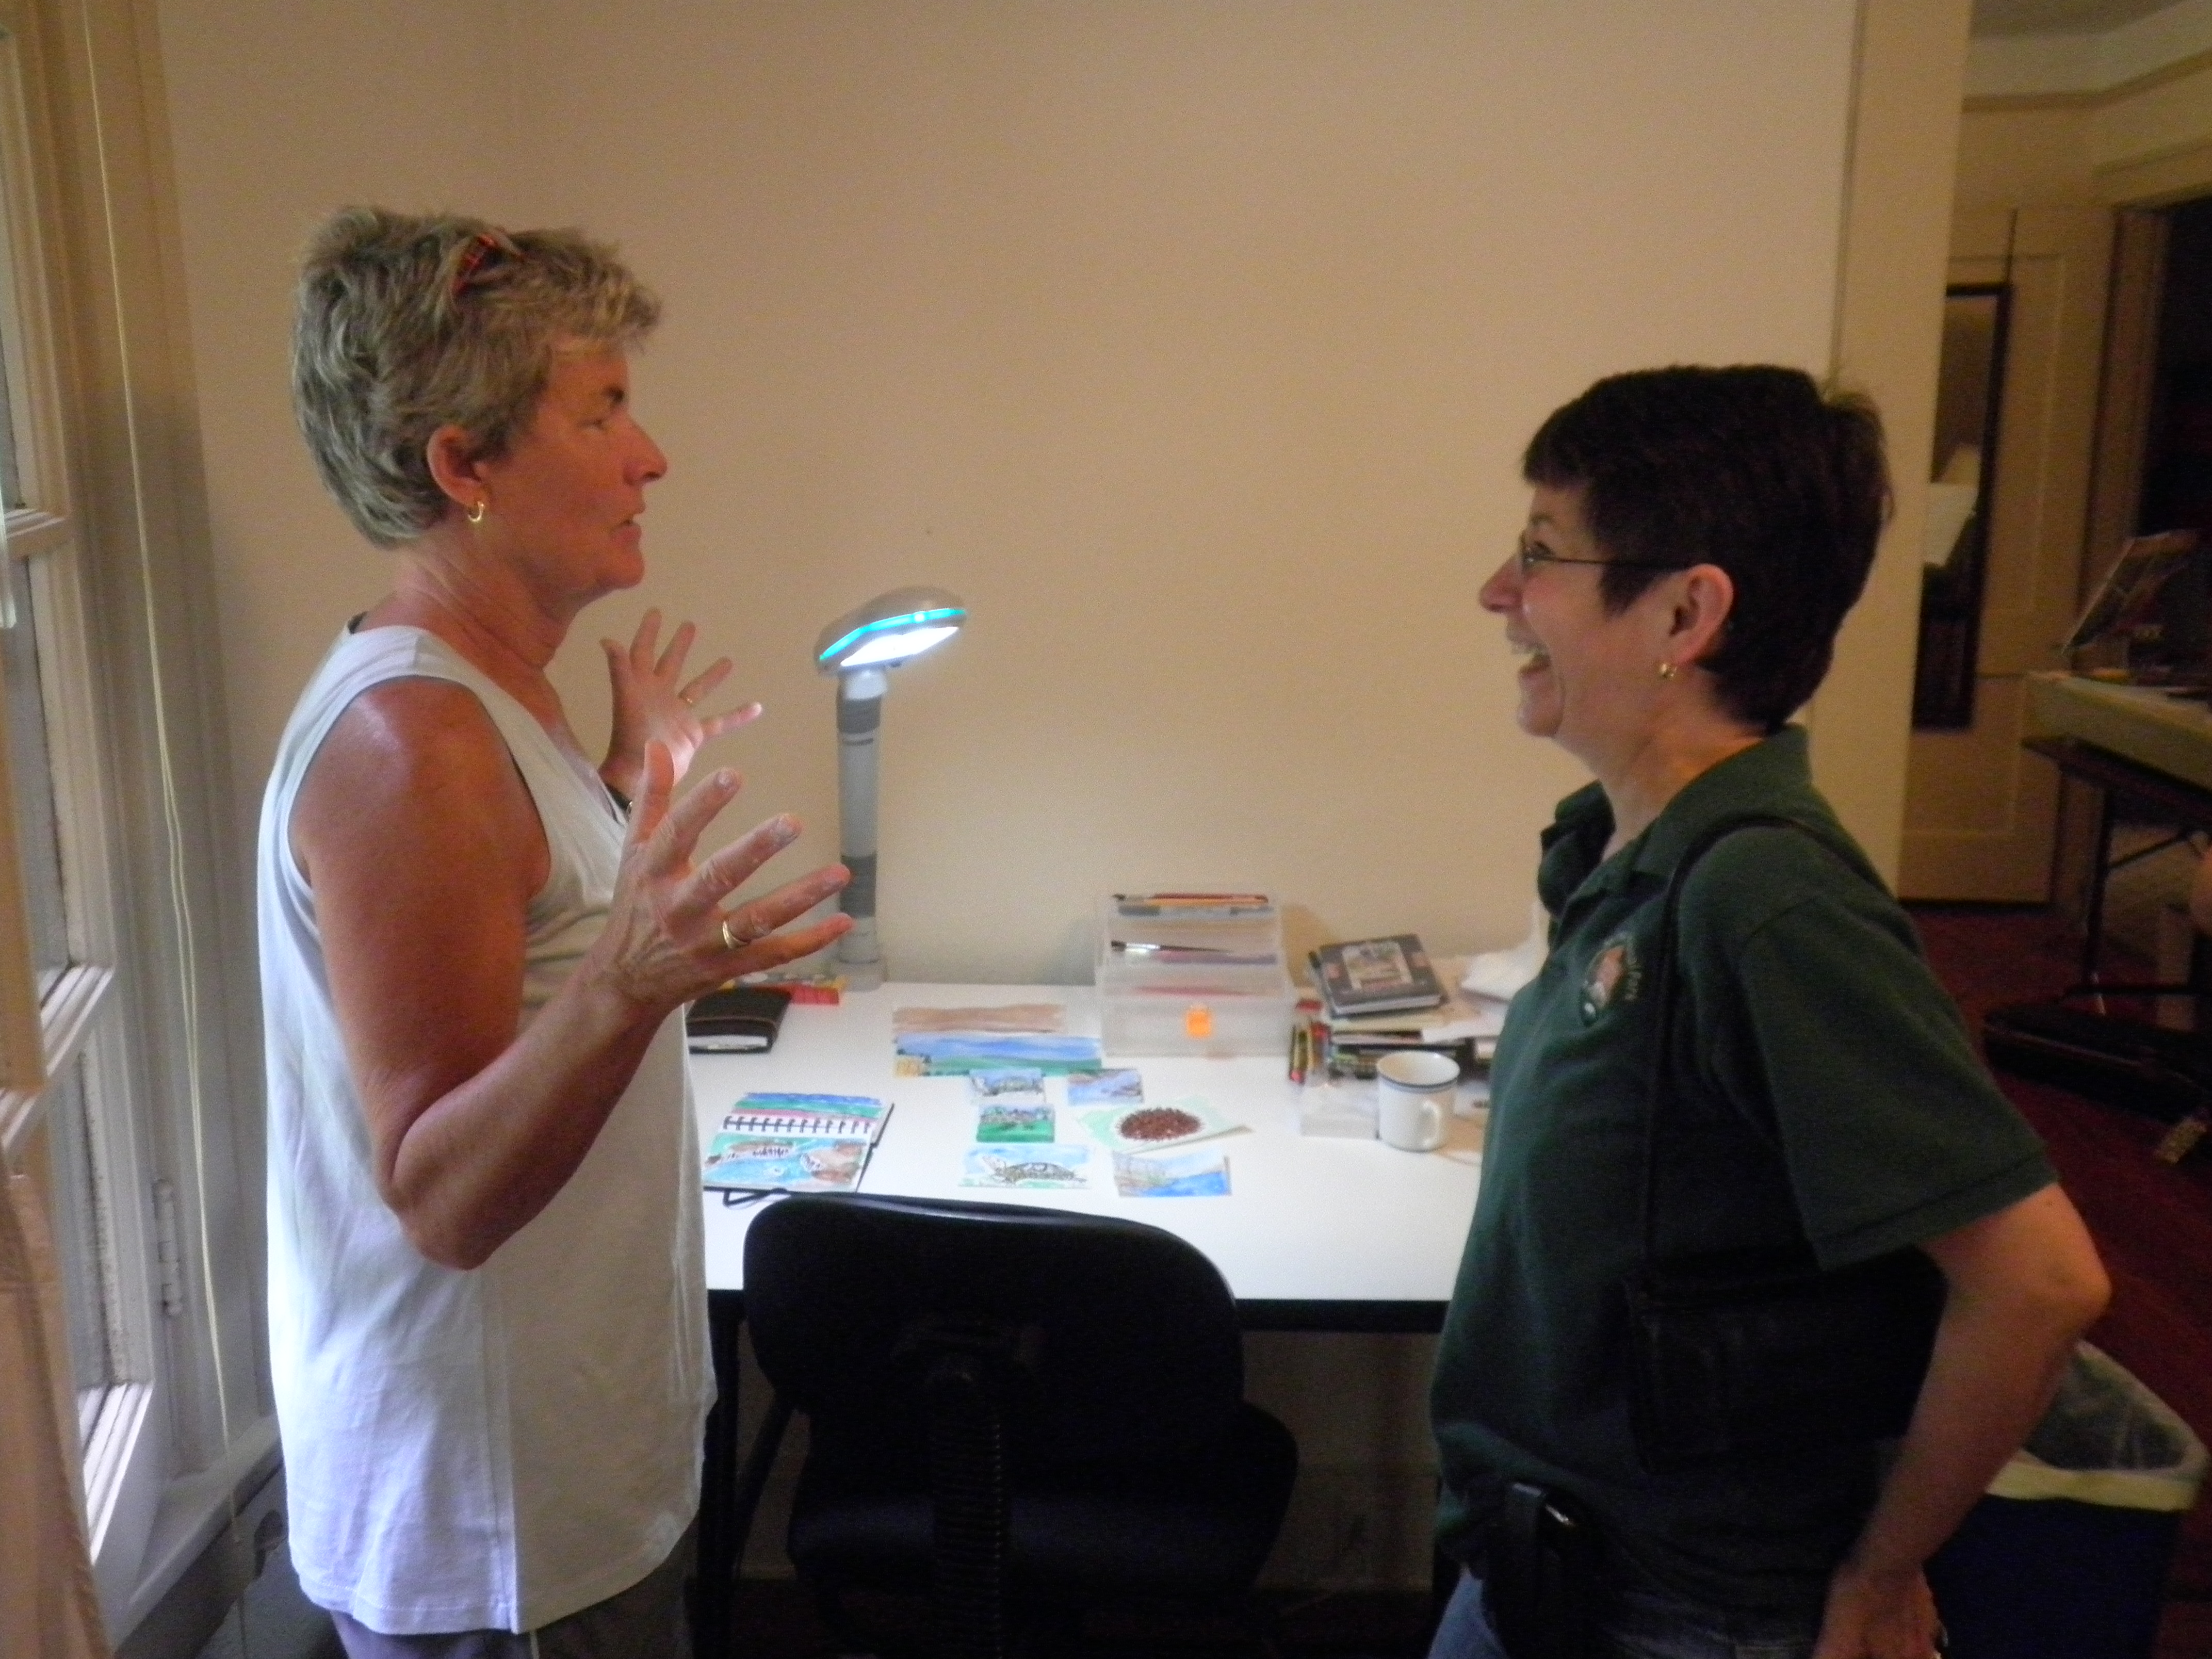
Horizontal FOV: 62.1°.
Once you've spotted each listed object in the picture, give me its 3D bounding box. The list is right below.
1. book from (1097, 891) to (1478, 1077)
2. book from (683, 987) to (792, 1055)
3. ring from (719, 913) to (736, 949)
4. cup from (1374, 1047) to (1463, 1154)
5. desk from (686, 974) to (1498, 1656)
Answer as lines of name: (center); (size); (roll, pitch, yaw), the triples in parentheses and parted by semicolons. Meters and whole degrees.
book: (0.245, 0.231, 2.855); (0.433, 0.157, 0.259); (0, 33, 1)
book: (-0.584, 0.294, 2.841); (0.118, 0.040, 0.172); (0, 18, 0)
ring: (-0.318, 0.085, 1.536); (0.015, 0.025, 0.008); (1, -3, 1)
cup: (0.433, 0.367, 2.518); (0.088, 0.096, 0.134); (1, 19, 5)
desk: (-0.037, 0.854, 2.801); (1.130, 1.093, 0.869); (0, 22, 4)
